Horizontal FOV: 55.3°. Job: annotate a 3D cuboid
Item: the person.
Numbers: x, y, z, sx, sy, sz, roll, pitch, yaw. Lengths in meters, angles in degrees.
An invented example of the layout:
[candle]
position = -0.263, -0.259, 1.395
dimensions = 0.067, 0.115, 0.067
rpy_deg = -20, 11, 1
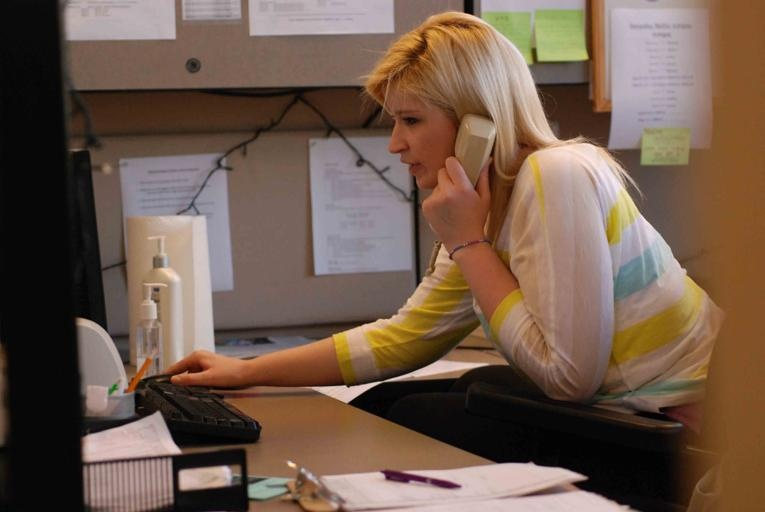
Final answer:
[person]
position = 0.141, 0.007, 1.479
dimensions = 0.912, 1.022, 0.480
rpy_deg = 1, -7, -2
